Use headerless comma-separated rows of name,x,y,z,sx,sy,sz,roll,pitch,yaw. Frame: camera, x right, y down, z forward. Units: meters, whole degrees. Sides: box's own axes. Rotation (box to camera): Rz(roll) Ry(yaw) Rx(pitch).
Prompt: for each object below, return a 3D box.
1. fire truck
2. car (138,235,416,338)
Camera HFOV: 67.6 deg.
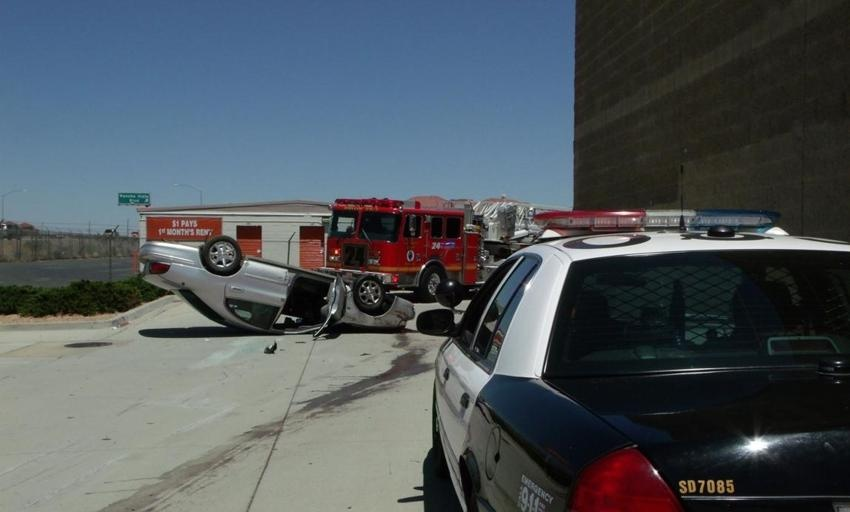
fire truck,-0.532,-0.281,19.820,2.500,1.854,4.942,-1,-2,41
car,-3.123,0.649,13.960,5.714,2.209,1.888,-2,6,-22
